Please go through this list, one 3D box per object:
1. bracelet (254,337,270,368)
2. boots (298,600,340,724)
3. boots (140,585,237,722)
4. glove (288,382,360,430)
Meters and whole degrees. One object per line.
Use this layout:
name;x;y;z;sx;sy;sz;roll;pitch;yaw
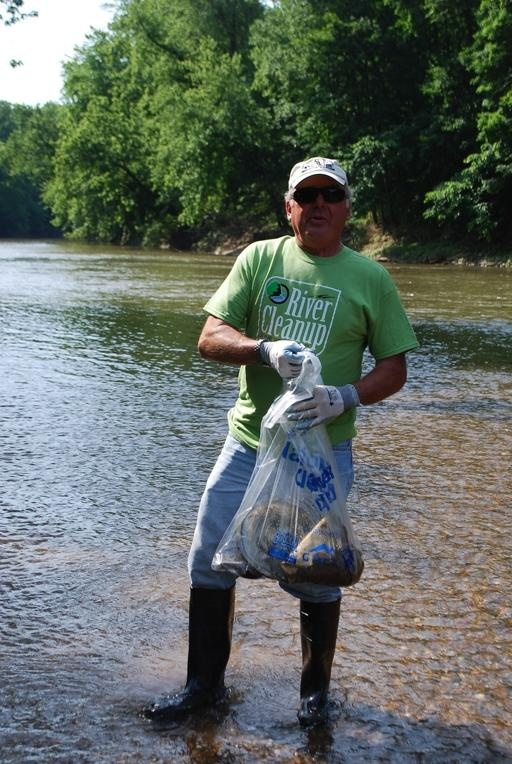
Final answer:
bracelet;0.022;-0.100;2.623;0.053;0.069;0.074;-2;40;1
boots;0.199;0.890;2.618;0.114;0.377;0.135;2;12;4
boots;-0.206;0.869;2.649;0.122;0.382;0.301;11;16;39
glove;0.225;0.068;2.547;0.298;0.132;0.086;-9;16;-44
